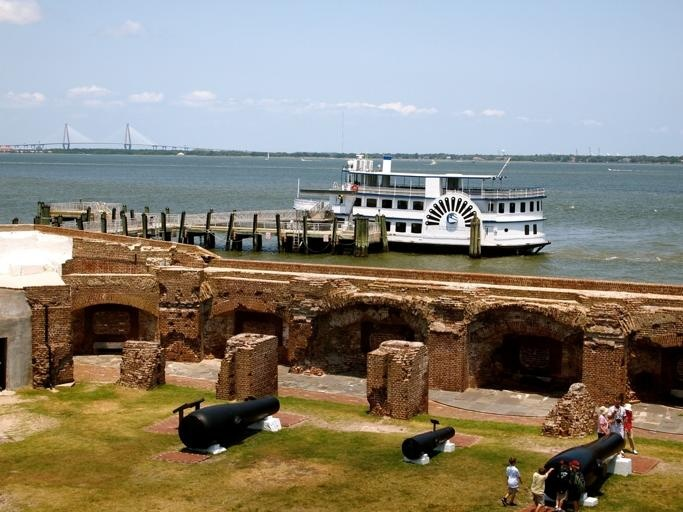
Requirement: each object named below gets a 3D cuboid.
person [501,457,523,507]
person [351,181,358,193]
[{"bbox_3d":[4.685,6.015,17.839,0.469,1.178,1.560,3,3,17],"label":"person"},{"bbox_3d":[1.491,-7.374,68.766,1.052,1.033,0.951,2,3,-1],"label":"person"}]
